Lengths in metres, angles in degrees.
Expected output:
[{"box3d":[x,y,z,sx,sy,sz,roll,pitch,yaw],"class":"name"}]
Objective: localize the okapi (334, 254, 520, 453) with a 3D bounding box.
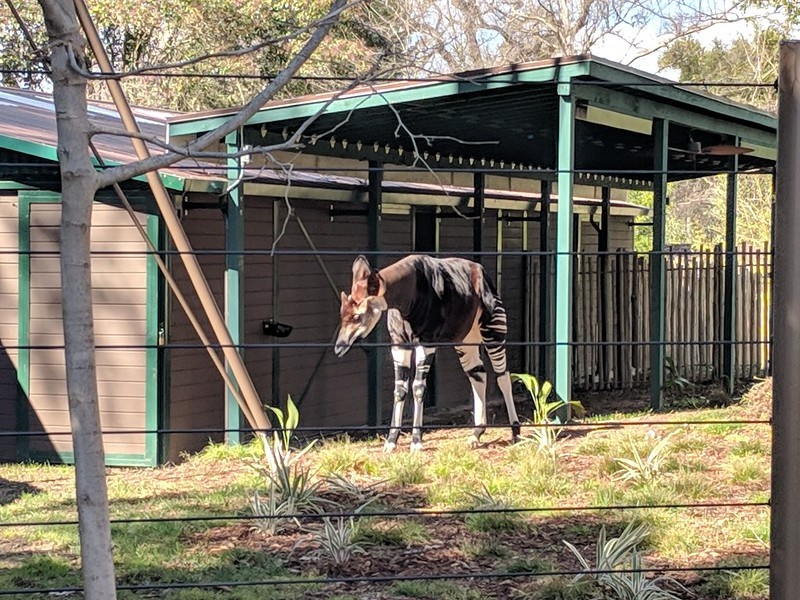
[{"box3d":[0.321,0.561,16.323,0.765,2.089,2.795,-2,-4,45],"class":"okapi"}]
